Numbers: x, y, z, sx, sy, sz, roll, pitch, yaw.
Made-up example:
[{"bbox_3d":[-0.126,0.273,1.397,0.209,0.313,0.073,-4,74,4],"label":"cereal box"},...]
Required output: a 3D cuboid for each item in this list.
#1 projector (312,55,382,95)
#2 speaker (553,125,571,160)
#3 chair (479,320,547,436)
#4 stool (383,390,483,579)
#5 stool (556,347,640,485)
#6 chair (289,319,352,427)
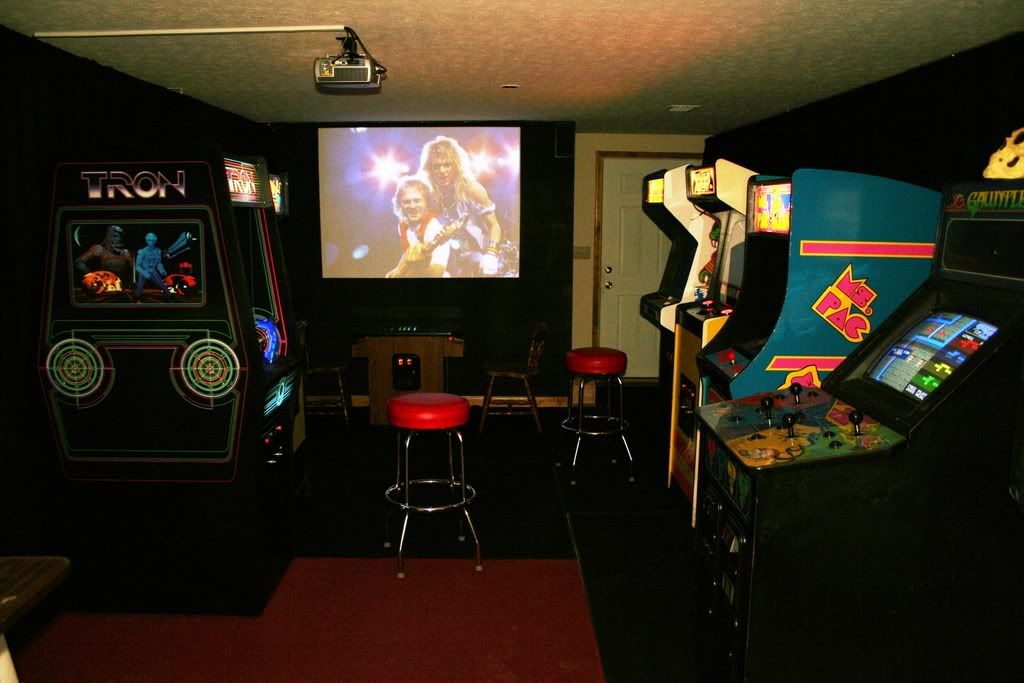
[{"bbox_3d":[-0.889,-1.411,4.233,0.300,0.097,0.204,1,36,-5],"label":"projector"},{"bbox_3d":[0.462,-1.778,7.076,0.166,0.295,0.042,3,13,7],"label":"speaker"},{"bbox_3d":[-0.009,0.291,6.663,0.614,0.786,0.561,0,15,5],"label":"chair"},{"bbox_3d":[-0.506,0.849,4.862,0.813,0.930,0.759,0,2,-41],"label":"stool"},{"bbox_3d":[0.734,0.597,6.138,0.756,0.863,0.744,9,-11,-7],"label":"stool"},{"bbox_3d":[-1.691,0.302,6.988,0.460,0.666,0.401,1,6,-12],"label":"chair"}]
